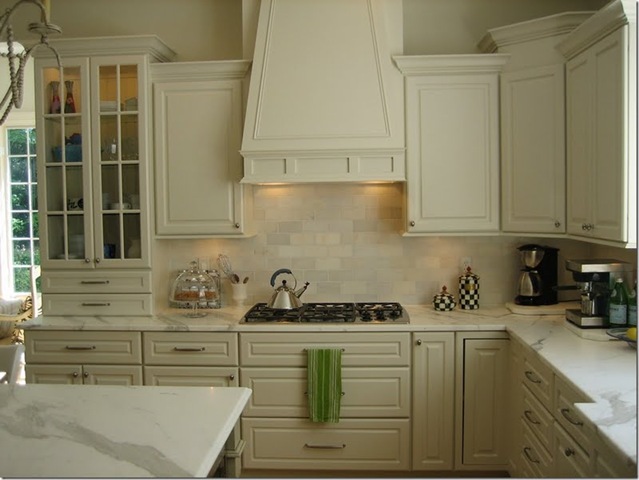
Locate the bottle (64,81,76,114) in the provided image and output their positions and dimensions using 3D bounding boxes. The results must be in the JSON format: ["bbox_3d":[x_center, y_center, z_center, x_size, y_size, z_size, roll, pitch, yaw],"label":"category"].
[{"bbox_3d":[-1.820,-1.037,4.184,0.085,0.230,0.036,-6,14,-19],"label":"bottle"}]

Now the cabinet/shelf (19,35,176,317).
[{"bbox_3d":[-1.615,-0.448,4.195,0.882,1.983,0.403,-1,13,2],"label":"cabinet/shelf"}]

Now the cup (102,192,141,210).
[{"bbox_3d":[-1.447,-0.277,4.179,0.212,0.074,0.129,1,-1,-3],"label":"cup"}]

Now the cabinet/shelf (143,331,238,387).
[{"bbox_3d":[-0.900,0.728,4.142,0.645,0.542,0.406,0,-4,-1],"label":"cabinet/shelf"}]

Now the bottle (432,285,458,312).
[{"bbox_3d":[0.947,0.434,4.358,0.173,0.170,0.268,1,12,12],"label":"bottle"}]

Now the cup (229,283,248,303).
[{"bbox_3d":[-0.610,0.408,4.406,0.160,0.179,0.141,0,-6,-3],"label":"cup"}]

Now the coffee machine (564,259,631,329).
[{"bbox_3d":[1.776,0.337,3.824,0.419,0.501,0.551,0,-3,5],"label":"coffee machine"}]

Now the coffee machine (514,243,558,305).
[{"bbox_3d":[1.622,0.253,4.226,0.325,0.439,0.154,-2,13,-4],"label":"coffee machine"}]

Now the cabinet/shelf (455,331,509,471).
[{"bbox_3d":[1.105,1.101,3.941,0.350,0.954,0.187,0,13,8],"label":"cabinet/shelf"}]

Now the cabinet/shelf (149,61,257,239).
[{"bbox_3d":[-0.833,-0.651,4.430,0.828,1.244,0.563,1,5,13],"label":"cabinet/shelf"}]

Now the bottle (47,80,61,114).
[{"bbox_3d":[-1.935,-1.034,4.191,0.099,0.223,0.057,-5,14,-18],"label":"bottle"}]

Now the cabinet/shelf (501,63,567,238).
[{"bbox_3d":[1.458,-0.615,4.004,0.470,1.112,0.175,-6,12,-8],"label":"cabinet/shelf"}]

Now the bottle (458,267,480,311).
[{"bbox_3d":[1.134,0.361,4.374,0.159,0.290,0.237,2,13,15],"label":"bottle"}]

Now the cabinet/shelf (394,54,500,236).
[{"bbox_3d":[0.922,-0.676,4.114,0.776,1.241,0.277,0,13,7],"label":"cabinet/shelf"}]

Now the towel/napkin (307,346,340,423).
[{"bbox_3d":[0.035,1.006,3.941,0.296,0.483,0.056,-4,-9,27],"label":"towel/napkin"}]

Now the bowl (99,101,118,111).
[{"bbox_3d":[-1.532,-0.971,4.189,0.137,0.091,0.071,-1,0,-8],"label":"bowl"}]

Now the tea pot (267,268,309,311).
[{"bbox_3d":[-0.246,0.359,4.339,0.318,0.257,0.257,2,5,-13],"label":"tea pot"}]

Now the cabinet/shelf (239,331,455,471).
[{"bbox_3d":[0.247,1.081,3.952,1.062,0.590,0.358,0,-4,1],"label":"cabinet/shelf"}]

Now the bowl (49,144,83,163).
[{"bbox_3d":[-1.835,-0.625,4.156,0.145,0.061,0.167,0,-4,-9],"label":"bowl"}]
